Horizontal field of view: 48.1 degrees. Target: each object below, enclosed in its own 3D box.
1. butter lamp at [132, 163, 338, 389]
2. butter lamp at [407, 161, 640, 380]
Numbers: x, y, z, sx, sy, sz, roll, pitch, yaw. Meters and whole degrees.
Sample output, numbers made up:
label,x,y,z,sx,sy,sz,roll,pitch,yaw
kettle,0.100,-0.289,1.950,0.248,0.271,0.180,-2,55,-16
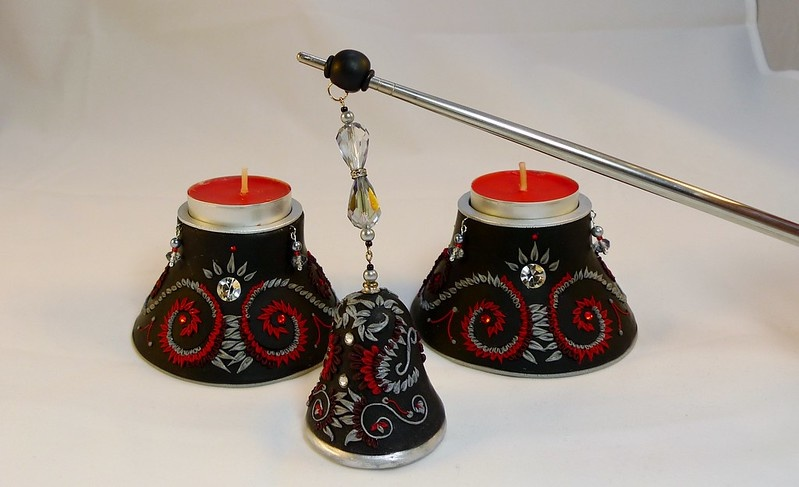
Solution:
label,x,y,z,sx,sy,sz,roll,pitch,yaw
butter lamp,-0.393,0.030,2.222,0.554,0.427,0.561,1,17,-14
butter lamp,0.310,0.048,2.289,0.572,0.410,0.607,2,8,25
